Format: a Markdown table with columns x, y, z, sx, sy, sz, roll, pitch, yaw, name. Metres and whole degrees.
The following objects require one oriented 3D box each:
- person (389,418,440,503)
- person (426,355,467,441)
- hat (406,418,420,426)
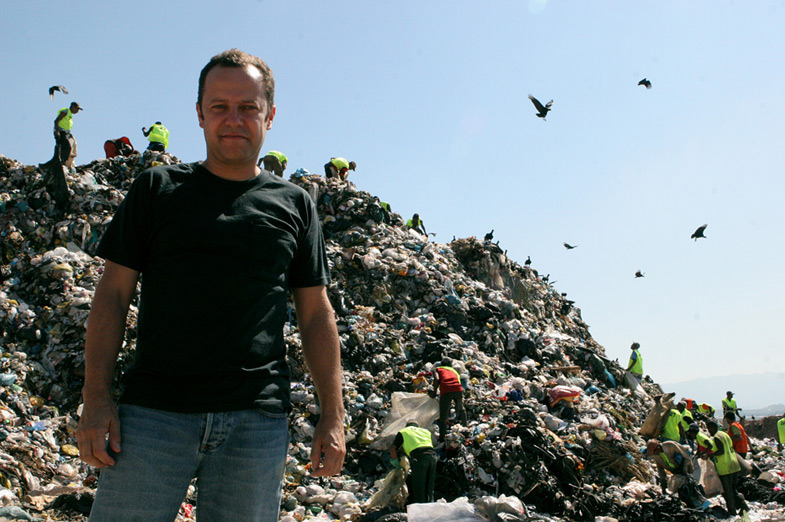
| x | y | z | sx | sy | sz | roll | pitch | yaw | name |
| --- | --- | --- | --- | --- | --- | --- | --- | --- | --- |
| 0.346 | 2.796 | 10.732 | 0.548 | 1.238 | 0.516 | -4 | 4 | 24 | person |
| 0.888 | 2.236 | 12.261 | 0.676 | 1.217 | 1.320 | 14 | -1 | 5 | person |
| 0.309 | 2.460 | 11.733 | 0.106 | 0.133 | 0.145 | 8 | -23 | -5 | hat |
